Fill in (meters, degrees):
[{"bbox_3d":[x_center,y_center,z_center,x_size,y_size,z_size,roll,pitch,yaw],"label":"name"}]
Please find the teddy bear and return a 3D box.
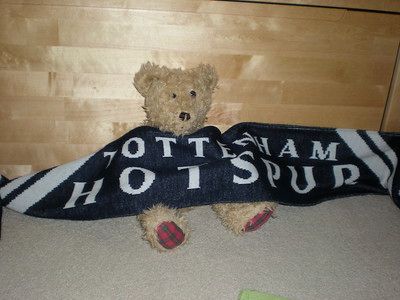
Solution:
[{"bbox_3d":[0.003,-0.016,1.499,0.484,0.497,0.631,-1,38,-16],"label":"teddy bear"}]
